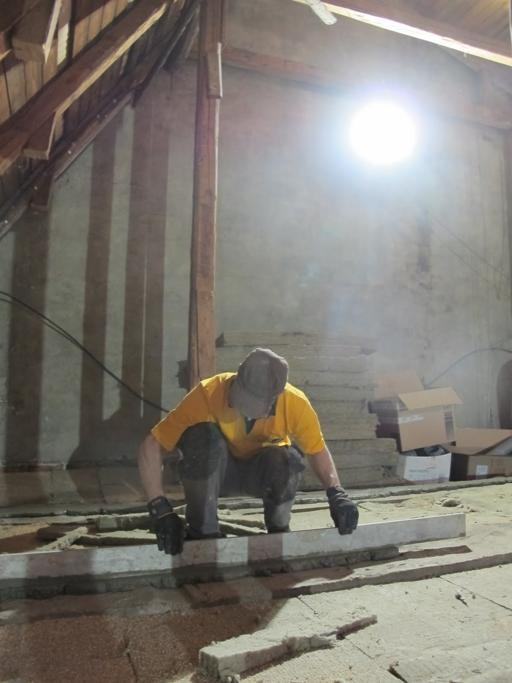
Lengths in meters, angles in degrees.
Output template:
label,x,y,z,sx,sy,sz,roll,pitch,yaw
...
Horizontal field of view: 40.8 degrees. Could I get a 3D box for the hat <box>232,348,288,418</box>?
label,x,y,z,sx,sy,sz,roll,pitch,yaw
hat,0.015,0.151,2.751,0.215,0.159,0.287,23,39,10

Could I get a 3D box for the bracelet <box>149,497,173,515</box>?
label,x,y,z,sx,sy,sz,roll,pitch,yaw
bracelet,-0.365,0.632,2.669,0.065,0.053,0.076,-13,-7,-1

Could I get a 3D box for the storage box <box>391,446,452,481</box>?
label,x,y,z,sx,sy,sz,roll,pitch,yaw
storage box,1.180,0.904,4.940,0.402,0.199,0.167,0,2,-25

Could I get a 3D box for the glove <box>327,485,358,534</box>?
label,x,y,z,sx,sy,sz,roll,pitch,yaw
glove,0.349,0.690,2.794,0.122,0.163,0.166,1,2,4

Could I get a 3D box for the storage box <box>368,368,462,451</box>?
label,x,y,z,sx,sy,sz,roll,pitch,yaw
storage box,1.153,0.531,5.221,0.603,0.334,0.581,3,-17,-7

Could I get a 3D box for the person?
label,x,y,z,sx,sy,sz,roll,pitch,yaw
person,-0.049,0.445,2.935,0.914,0.738,0.974,1,2,-14
